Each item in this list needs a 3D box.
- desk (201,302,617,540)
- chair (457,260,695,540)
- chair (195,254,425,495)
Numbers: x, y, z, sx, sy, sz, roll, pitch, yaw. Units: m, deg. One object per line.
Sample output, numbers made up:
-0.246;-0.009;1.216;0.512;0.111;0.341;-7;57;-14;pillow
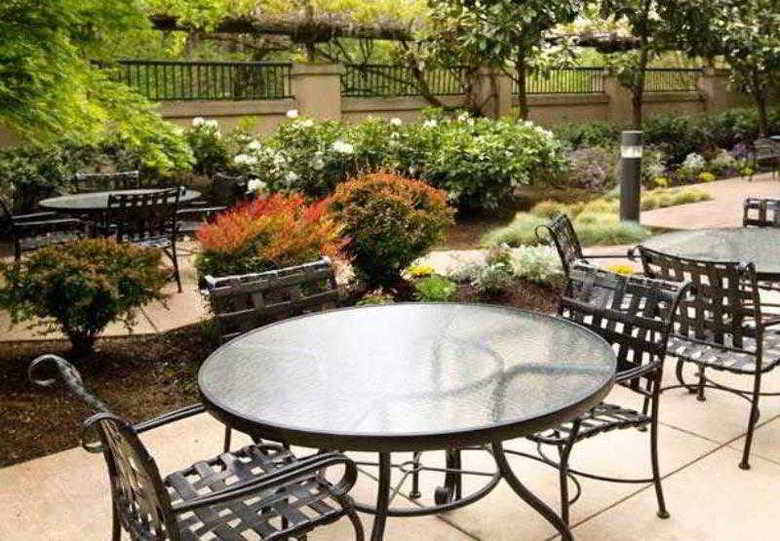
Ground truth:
0.026;0.183;2.814;1.453;0.683;1.358;-9;15;-18;desk
0.951;0.703;3.348;1.069;1.227;1.018;-8;12;-39;chair
-0.743;0.398;4.540;1.416;2.101;1.575;-14;20;-40;chair
